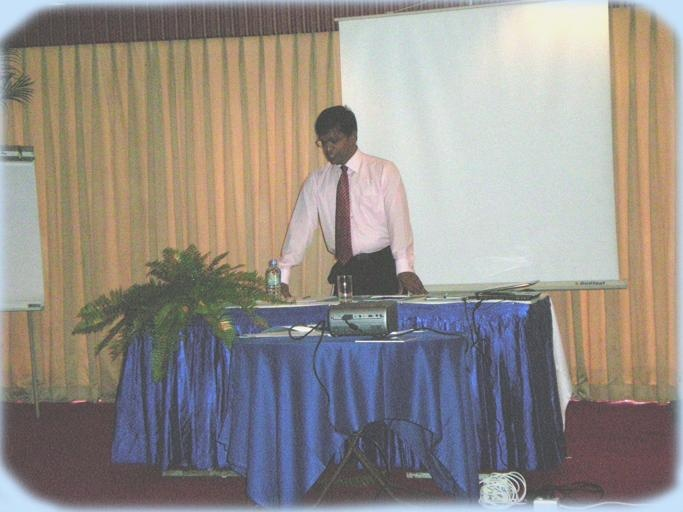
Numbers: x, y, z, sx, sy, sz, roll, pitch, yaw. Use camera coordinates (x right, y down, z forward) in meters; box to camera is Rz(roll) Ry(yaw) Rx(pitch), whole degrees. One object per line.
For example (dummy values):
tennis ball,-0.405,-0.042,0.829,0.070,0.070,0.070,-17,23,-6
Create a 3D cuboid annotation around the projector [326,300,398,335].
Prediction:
projector,0.123,0.379,6.174,0.420,0.168,0.120,-3,-1,0
